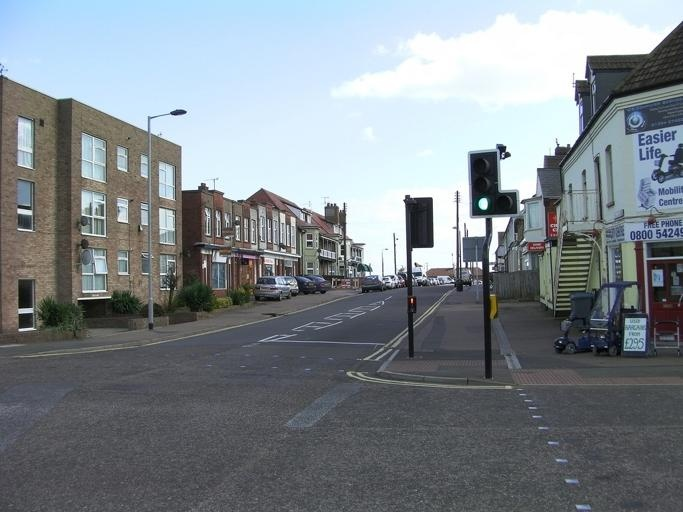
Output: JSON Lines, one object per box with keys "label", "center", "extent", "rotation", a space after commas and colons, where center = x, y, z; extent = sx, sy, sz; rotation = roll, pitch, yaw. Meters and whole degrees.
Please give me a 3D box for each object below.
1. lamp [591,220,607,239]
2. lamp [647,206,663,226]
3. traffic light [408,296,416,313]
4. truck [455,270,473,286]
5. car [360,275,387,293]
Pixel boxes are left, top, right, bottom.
{"label": "lamp", "center": [9.270, -0.987, 23.923], "extent": [0.439, 0.890, 0.458], "rotation": [-4, -4, 39]}
{"label": "lamp", "center": [9.571, -1.223, 20.331], "extent": [0.388, 0.568, 0.109], "rotation": [-5, -2, 16]}
{"label": "traffic light", "center": [1.927, 1.306, 18.084], "extent": [0.208, 0.400, 0.348], "rotation": [-4, -2, 1]}
{"label": "truck", "center": [14.553, 2.619, 78.561], "extent": [1.617, 1.480, 2.781], "rotation": [-2, -6, 8]}
{"label": "car", "center": [2.860, 2.406, 59.286], "extent": [1.354, 1.354, 3.027], "rotation": [-6, -3, 25]}
